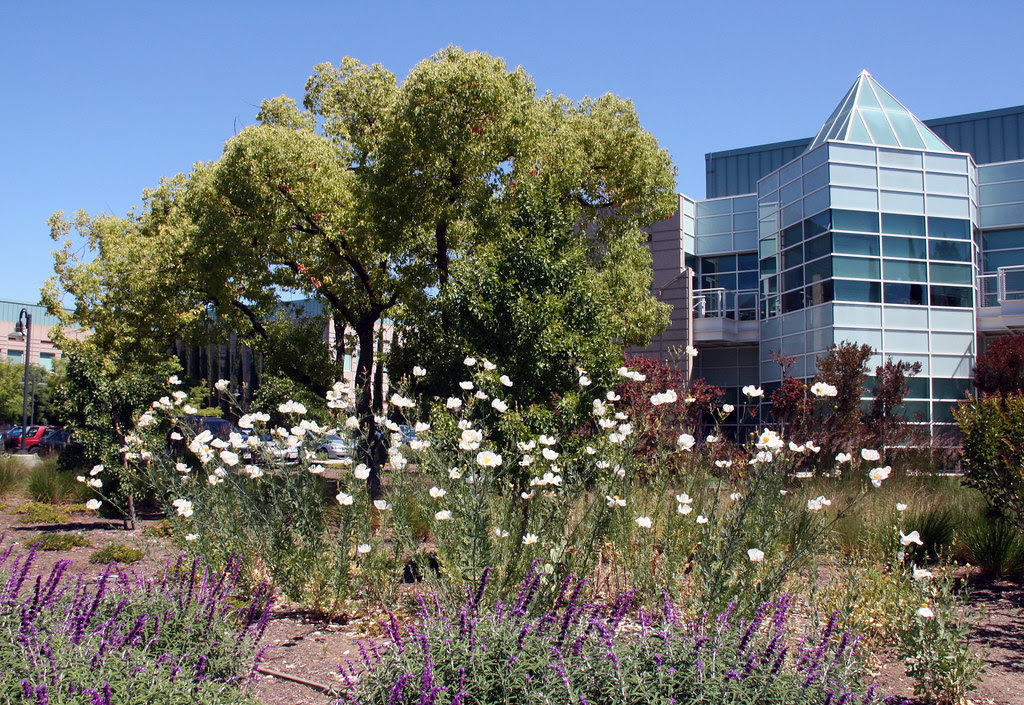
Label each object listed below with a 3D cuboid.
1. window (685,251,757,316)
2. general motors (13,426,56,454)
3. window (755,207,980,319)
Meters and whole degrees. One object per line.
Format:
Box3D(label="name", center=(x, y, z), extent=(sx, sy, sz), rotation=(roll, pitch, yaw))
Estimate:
Box3D(label="window", center=(7.915, -2.678, 38.192), extent=(3.115, 3.716, 0.131), rotation=(-1, -39, 9))
Box3D(label="general motors", center=(-20.019, 3.685, 41.703), extent=(1.968, 1.307, 1.361), rotation=(2, 1, 21))
Box3D(label="window", center=(10.911, -2.711, 29.538), extent=(5.343, 2.842, 2.215), rotation=(0, -8, 26))
